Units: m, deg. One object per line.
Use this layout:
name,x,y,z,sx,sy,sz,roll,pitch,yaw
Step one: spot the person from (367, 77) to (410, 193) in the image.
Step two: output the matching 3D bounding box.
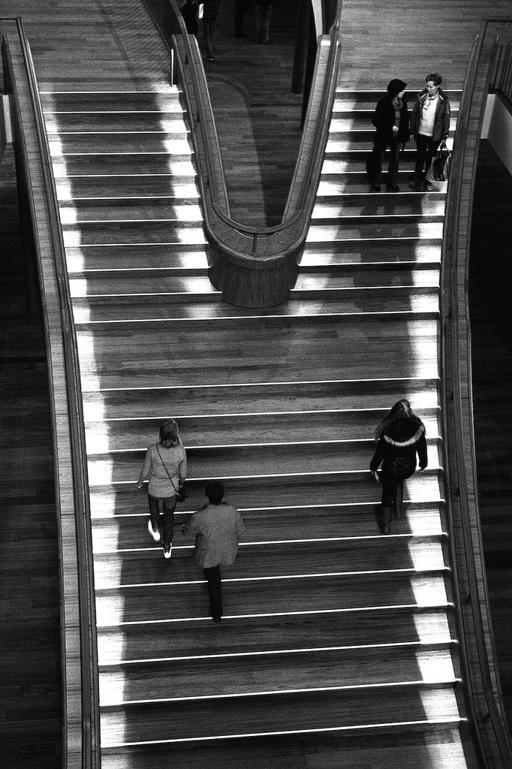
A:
person,1.204,-2.178,10.211,0.284,1.012,0.316,-1,37,-4

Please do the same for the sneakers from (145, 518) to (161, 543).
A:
sneakers,-0.741,1.058,8.288,0.063,0.208,0.069,-13,6,-41

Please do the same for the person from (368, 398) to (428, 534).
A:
person,1.030,0.573,8.338,0.371,1.122,0.390,-8,40,-12

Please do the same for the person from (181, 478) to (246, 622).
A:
person,-0.295,1.084,7.909,0.326,1.108,0.348,-6,36,-11

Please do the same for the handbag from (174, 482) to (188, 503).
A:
handbag,-0.528,0.743,8.029,0.071,0.151,0.107,-4,49,-10

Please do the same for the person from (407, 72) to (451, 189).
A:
person,1.529,-2.225,10.064,0.259,1.022,0.219,2,37,5

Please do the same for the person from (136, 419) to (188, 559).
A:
person,-0.663,0.697,8.032,0.383,1.198,0.279,29,50,24
